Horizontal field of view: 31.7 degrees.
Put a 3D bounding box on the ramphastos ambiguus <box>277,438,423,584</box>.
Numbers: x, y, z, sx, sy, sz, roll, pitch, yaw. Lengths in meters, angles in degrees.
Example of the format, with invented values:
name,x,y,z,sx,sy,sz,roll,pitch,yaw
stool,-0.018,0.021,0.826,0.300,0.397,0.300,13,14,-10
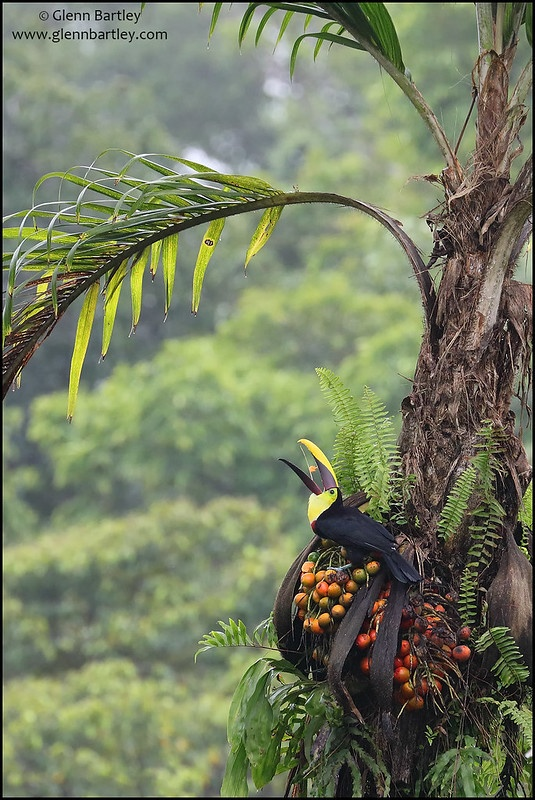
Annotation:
name,x,y,z,sx,sy,sz,roll,pitch,yaw
ramphastos ambiguus,0.172,0.231,2.013,0.302,0.262,0.103,5,6,20

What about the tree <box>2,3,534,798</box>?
name,x,y,z,sx,sy,sz,roll,pitch,yaw
tree,0.147,-0.101,2.041,1.079,1.876,0.763,-12,-14,28
